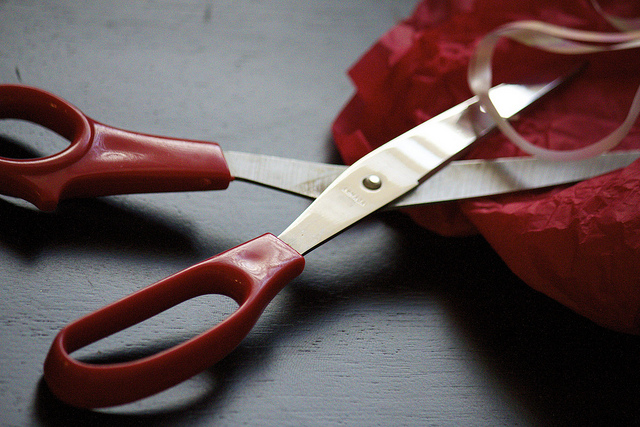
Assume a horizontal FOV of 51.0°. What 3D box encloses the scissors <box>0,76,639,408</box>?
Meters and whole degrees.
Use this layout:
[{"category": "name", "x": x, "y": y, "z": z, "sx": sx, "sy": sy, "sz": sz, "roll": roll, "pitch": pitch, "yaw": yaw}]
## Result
[{"category": "scissors", "x": 0.003, "y": 0.019, "z": 0.699, "sx": 0.565, "sy": 0.043, "sz": 0.304, "roll": -18, "pitch": 52, "yaw": -26}]
